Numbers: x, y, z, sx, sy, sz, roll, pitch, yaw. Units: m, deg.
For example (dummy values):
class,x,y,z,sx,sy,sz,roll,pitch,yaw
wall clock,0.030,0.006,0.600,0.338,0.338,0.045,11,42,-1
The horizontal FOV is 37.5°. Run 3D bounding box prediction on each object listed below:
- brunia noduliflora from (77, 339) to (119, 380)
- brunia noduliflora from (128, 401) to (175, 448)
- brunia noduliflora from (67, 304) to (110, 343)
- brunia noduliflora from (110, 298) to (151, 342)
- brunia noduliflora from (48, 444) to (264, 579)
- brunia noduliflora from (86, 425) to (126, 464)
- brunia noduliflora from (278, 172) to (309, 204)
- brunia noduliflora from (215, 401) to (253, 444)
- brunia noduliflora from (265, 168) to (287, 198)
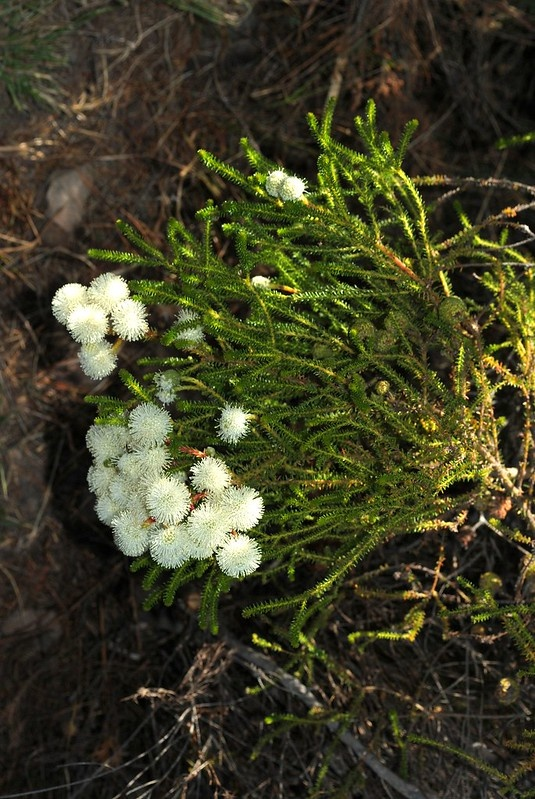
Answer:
class,x,y,z,sx,sy,sz,roll,pitch,yaw
brunia noduliflora,-0.534,-0.126,2.496,0.138,0.074,0.122,5,87,-28
brunia noduliflora,-0.343,0.072,2.297,0.135,0.050,0.123,1,80,-10
brunia noduliflora,-0.536,-0.227,2.342,0.129,0.067,0.113,-1,78,-1
brunia noduliflora,-0.424,-0.241,2.422,0.130,0.052,0.118,-21,93,-13
brunia noduliflora,-0.325,0.320,2.379,0.562,0.220,0.364,4,25,5
brunia noduliflora,-0.505,0.150,2.509,0.140,0.059,0.127,5,83,14
brunia noduliflora,0.080,-0.617,2.285,0.079,0.077,0.079,3,26,2
brunia noduliflora,-0.100,0.072,2.398,0.095,0.206,0.116,21,79,7
brunia noduliflora,0.042,-0.631,2.300,0.071,0.073,0.069,1,71,8
